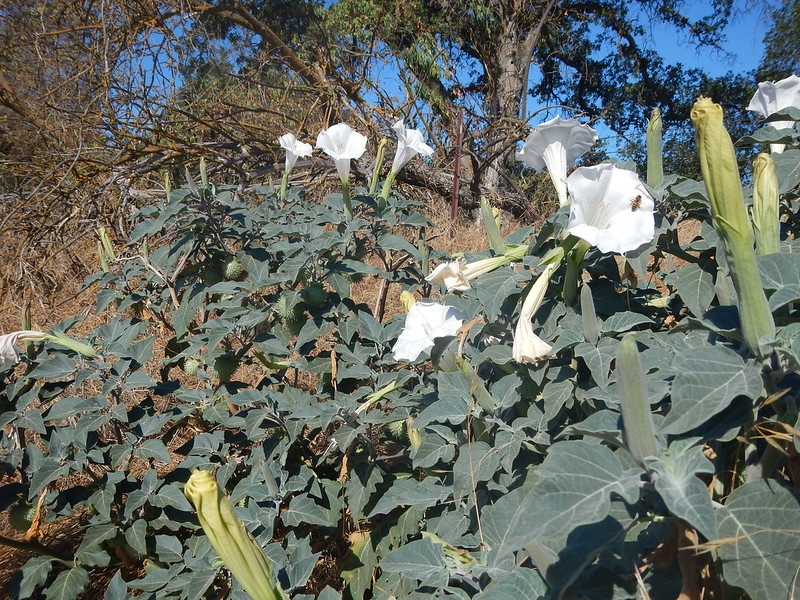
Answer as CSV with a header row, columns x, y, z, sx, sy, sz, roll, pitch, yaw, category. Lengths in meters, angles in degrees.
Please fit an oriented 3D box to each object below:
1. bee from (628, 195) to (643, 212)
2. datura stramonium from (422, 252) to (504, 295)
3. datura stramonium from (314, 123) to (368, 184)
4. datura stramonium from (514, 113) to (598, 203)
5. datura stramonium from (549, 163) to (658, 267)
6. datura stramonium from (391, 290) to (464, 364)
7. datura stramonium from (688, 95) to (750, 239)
x,y,z,sx,sy,sz,roll,pitch,yaw,category
0.599,-0.248,1.453,0.037,0.046,0.014,12,34,5,bee
0.193,-0.092,1.662,0.268,0.096,0.086,-21,-18,-31,datura stramonium
-0.222,-0.595,2.295,0.184,0.255,0.251,-19,2,-4,datura stramonium
0.492,-0.427,1.761,0.219,0.215,0.192,-10,-36,19,datura stramonium
0.528,-0.231,1.407,0.314,0.219,0.105,-20,2,-39,datura stramonium
0.071,0.072,1.562,0.175,0.173,0.065,-25,-38,13,datura stramonium
0.637,-0.259,1.139,0.071,0.274,0.141,-18,2,32,datura stramonium
